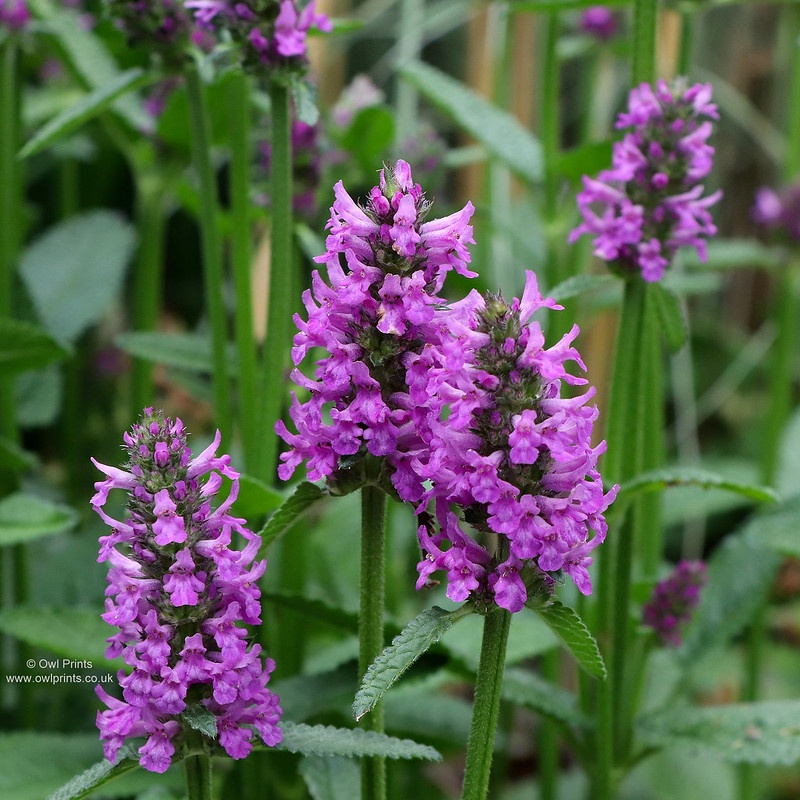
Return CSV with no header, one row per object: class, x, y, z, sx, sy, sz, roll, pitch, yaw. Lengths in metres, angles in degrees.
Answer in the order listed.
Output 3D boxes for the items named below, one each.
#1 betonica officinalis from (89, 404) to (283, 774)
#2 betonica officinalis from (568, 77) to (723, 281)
betonica officinalis,-0.199,0.181,1.068,0.173,0.343,0.165,-1,14,-12
betonica officinalis,0.282,-0.243,1.285,0.159,0.220,0.186,6,14,15
